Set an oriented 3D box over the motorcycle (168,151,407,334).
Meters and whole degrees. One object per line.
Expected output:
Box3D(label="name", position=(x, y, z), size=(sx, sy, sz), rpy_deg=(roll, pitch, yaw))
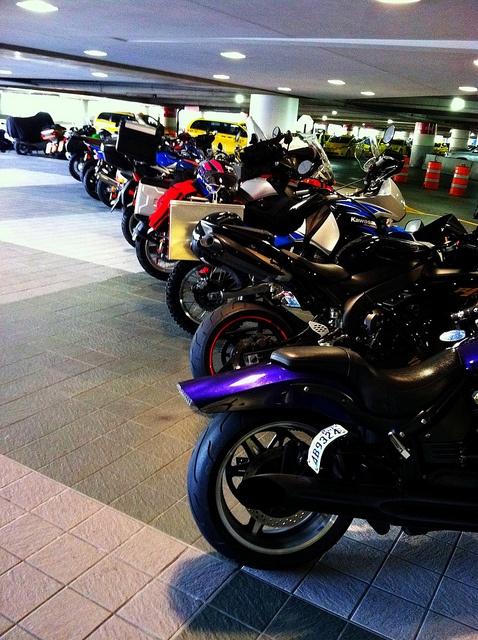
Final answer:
Box3D(label="motorcycle", position=(0.543, -0.770, 3.577), size=(2.369, 1.334, 1.031), rpy_deg=(-8, 30, -12))
